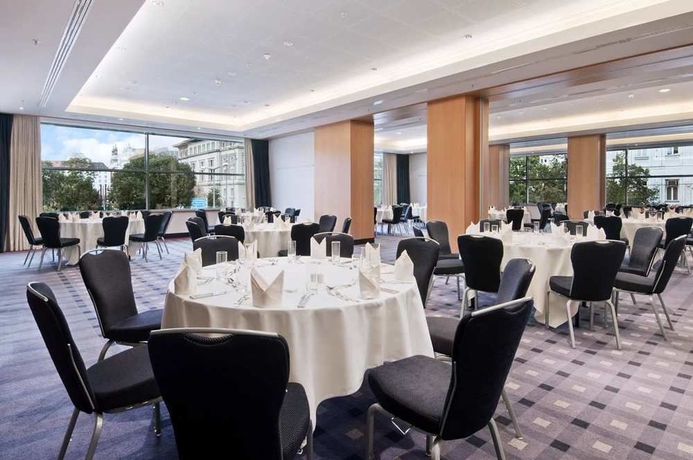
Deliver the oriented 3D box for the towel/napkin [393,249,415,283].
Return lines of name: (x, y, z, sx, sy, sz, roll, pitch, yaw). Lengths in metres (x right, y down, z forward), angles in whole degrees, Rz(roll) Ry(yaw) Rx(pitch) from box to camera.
towel/napkin: (0.596, 0.412, 4.264, 0.191, 0.317, 0.191, -10, 41, 6)

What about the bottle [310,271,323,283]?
bottle: (-0.274, 0.431, 4.039, 0.100, 0.080, 0.098, 3, -4, -41)

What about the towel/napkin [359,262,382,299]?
towel/napkin: (0.205, 0.451, 3.894, 0.199, 0.268, 0.098, 3, -6, -3)

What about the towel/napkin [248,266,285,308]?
towel/napkin: (-0.685, 0.478, 3.760, 0.305, 0.298, 0.288, 3, 5, 9)

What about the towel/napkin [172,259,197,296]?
towel/napkin: (-1.478, 0.424, 3.964, 0.224, 0.361, 0.334, 2, -8, -22)

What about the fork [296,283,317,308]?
fork: (-0.343, 0.571, 3.794, 0.073, 0.059, 0.283, 5, 16, 8)

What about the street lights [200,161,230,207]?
street lights: (-4.379, -1.522, 14.577, 0.178, 1.470, 0.691, 6, 9, 43)

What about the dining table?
dining table: (-0.388, 1.022, 3.493, 1.683, 0.616, 1.619, 0, -1, -2)

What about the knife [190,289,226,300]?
knife: (-1.245, 0.571, 3.871, 0.360, 0.041, 0.059, 2, 29, -35)
